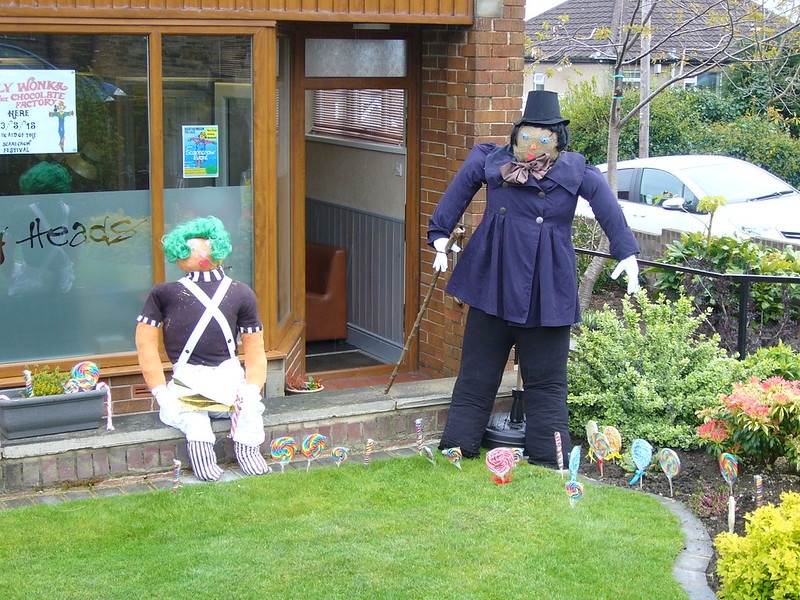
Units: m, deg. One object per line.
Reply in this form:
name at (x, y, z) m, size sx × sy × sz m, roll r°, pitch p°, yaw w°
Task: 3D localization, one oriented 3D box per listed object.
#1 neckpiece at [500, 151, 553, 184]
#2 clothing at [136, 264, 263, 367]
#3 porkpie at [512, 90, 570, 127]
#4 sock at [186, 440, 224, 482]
neckpiece at (0.805, -0.828, 5.081) m, size 0.309 × 0.186 × 0.124 m, roll -8°, pitch 5°, yaw 2°
clothing at (-1.255, 0.107, 5.113) m, size 0.791 × 0.636 × 0.404 m, roll 3°, pitch -3°, yaw -18°
porkpie at (0.963, -1.241, 5.264) m, size 0.241 × 0.140 × 0.269 m, roll 8°, pitch 13°, yaw 34°
sock at (-1.258, 1.034, 5.049) m, size 0.207 × 0.276 × 0.146 m, roll 7°, pitch -34°, yaw -39°
